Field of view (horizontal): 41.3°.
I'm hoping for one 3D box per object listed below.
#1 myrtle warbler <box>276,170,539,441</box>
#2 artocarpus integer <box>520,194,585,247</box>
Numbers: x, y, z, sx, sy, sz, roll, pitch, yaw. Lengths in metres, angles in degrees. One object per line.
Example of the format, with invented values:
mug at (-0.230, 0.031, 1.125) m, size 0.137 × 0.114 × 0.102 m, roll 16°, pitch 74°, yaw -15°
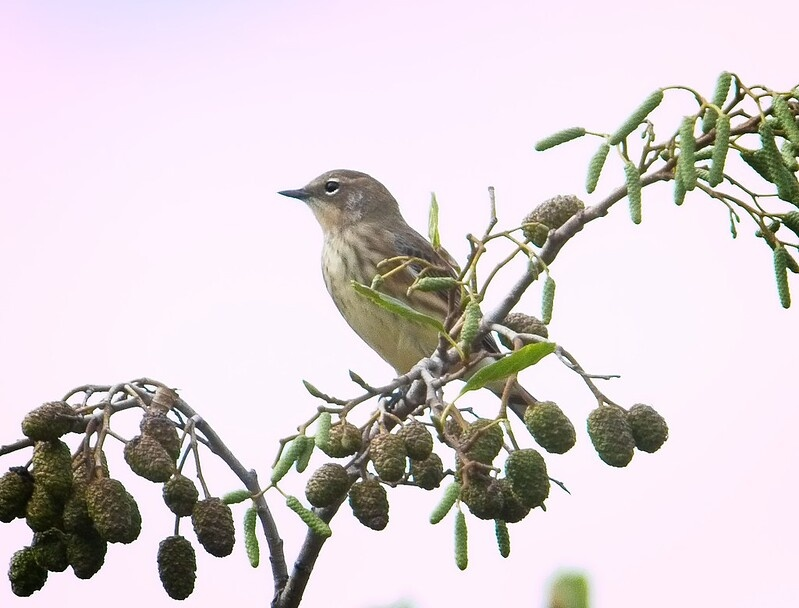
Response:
myrtle warbler at (-0.237, -0.105, 6.632) m, size 1.094 × 1.447 × 1.717 m, roll 0°, pitch -89°, yaw 38°
artocarpus integer at (0.615, -0.329, 4.235) m, size 0.234 × 0.361 × 0.203 m, roll 4°, pitch -47°, yaw 7°
